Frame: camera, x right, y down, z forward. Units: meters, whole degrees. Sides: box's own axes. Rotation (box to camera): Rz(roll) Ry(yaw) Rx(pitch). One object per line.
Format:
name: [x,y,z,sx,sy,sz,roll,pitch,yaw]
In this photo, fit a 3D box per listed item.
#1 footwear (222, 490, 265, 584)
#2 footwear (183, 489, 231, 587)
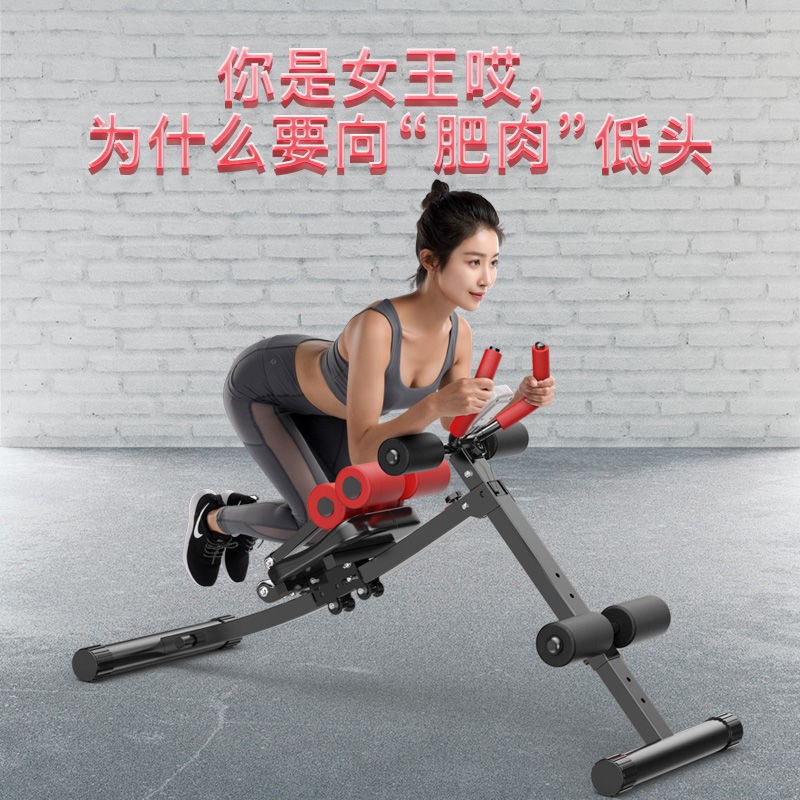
footwear: [-0.312,0.298,2.087,0.098,0.199,0.078,1,14,30]
footwear: [-0.409,0.291,2.079,0.101,0.193,0.094,0,2,41]
